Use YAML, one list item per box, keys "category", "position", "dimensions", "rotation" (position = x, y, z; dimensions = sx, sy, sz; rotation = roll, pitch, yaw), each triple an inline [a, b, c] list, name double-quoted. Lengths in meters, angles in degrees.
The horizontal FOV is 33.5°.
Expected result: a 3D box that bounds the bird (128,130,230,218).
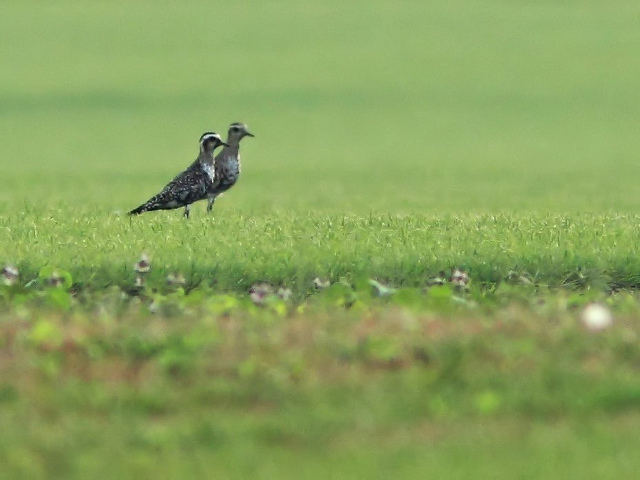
- category: "bird"
  position: [-1.649, -0.779, 12.962]
  dimensions: [0.891, 0.947, 0.328]
  rotation: [-6, 20, -36]
